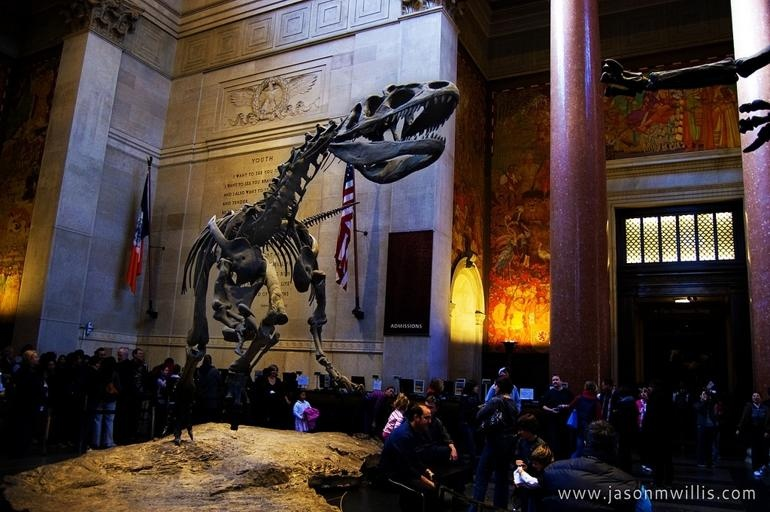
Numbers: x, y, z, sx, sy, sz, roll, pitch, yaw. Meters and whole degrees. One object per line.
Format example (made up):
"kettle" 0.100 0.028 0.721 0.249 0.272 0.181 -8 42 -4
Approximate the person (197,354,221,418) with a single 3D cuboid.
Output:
"person" -3.207 2.424 10.999 0.408 1.232 0.843 3 13 -15

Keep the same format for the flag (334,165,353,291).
"flag" -0.942 -0.631 14.684 0.367 3.071 1.334 6 12 -4

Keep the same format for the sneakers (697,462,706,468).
"sneakers" 6.274 4.149 12.006 0.045 0.058 0.145 7 -7 -7

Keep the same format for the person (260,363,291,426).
"person" -2.220 2.845 12.255 0.479 1.094 0.772 1 13 -22

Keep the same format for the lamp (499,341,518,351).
"lamp" 3.260 2.375 15.986 0.399 0.270 0.399 6 -9 4
